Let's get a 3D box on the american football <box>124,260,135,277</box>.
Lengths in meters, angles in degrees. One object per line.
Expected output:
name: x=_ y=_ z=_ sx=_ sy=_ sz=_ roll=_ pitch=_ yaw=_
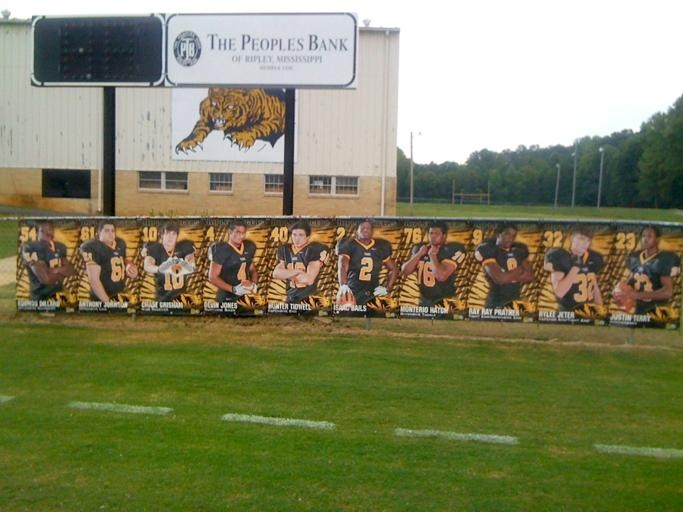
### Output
american football: x=-5.757 y=0.355 z=30.977 sx=0.292 sy=0.458 sz=0.059 roll=1 pitch=2 yaw=11

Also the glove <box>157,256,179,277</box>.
glove: x=-4.721 y=0.236 z=30.906 sx=0.629 sy=0.479 sz=0.044 roll=0 pitch=2 yaw=1

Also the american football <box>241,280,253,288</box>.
american football: x=-2.554 y=0.756 z=30.749 sx=0.260 sy=0.159 sz=0.120 roll=1 pitch=6 yaw=6

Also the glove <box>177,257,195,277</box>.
glove: x=-4.207 y=0.251 z=30.866 sx=0.425 sy=0.450 sz=0.201 roll=7 pitch=4 yaw=10
